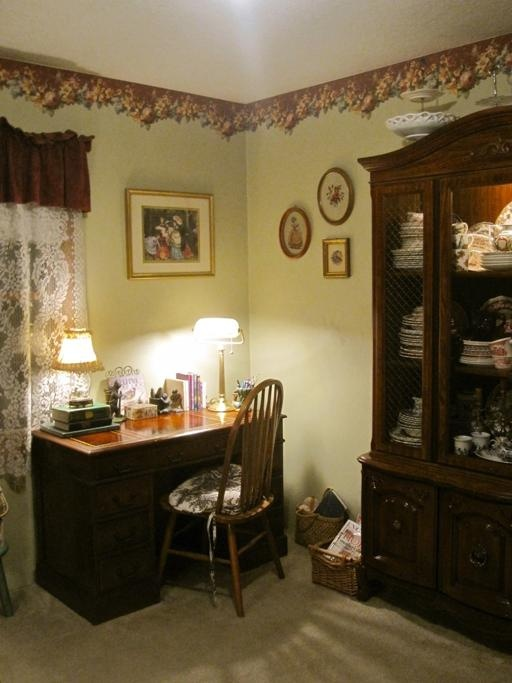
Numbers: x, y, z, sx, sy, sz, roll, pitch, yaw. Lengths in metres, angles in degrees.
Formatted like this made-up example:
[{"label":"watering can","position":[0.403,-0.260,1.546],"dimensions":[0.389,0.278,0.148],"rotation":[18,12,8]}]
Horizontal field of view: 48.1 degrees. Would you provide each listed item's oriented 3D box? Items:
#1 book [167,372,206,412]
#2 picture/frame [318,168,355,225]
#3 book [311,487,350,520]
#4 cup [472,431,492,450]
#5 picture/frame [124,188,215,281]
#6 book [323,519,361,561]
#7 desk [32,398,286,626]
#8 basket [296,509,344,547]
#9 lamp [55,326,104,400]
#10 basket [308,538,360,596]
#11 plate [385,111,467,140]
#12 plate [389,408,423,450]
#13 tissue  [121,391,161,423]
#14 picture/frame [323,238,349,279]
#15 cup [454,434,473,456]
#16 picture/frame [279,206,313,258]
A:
[{"label":"book","position":[-0.376,0.224,3.109],"dimensions":[0.185,0.228,0.243],"rotation":[-6,10,-37]},{"label":"picture/frame","position":[0.424,-0.754,2.969],"dimensions":[0.036,0.327,0.323],"rotation":[-4,6,-31]},{"label":"book","position":[0.401,0.854,3.032],"dimensions":[0.159,0.158,0.053],"rotation":[37,-20,-5]},{"label":"cup","position":[0.833,0.363,2.116],"dimensions":[0.063,0.058,0.062],"rotation":[-1,9,0]},{"label":"picture/frame","position":[-0.493,-0.588,3.125],"dimensions":[0.027,0.434,0.564],"rotation":[5,7,43]},{"label":"book","position":[0.428,0.932,2.718],"dimensions":[0.148,0.040,0.148],"rotation":[10,47,39]},{"label":"desk","position":[-0.582,0.761,2.689],"dimensions":[0.746,0.663,0.682],"rotation":[-2,1,-41]},{"label":"basket","position":[0.313,0.978,3.019],"dimensions":[0.195,0.193,0.290],"rotation":[13,-12,-35]},{"label":"lamp","position":[-0.843,0.036,2.666],"dimensions":[0.200,0.237,0.150],"rotation":[-1,1,24]},{"label":"basket","position":[0.366,1.024,2.593],"dimensions":[0.162,0.107,0.211],"rotation":[-1,-5,37]},{"label":"plate","position":[0.634,-0.844,2.251],"dimensions":[0.191,0.051,0.184],"rotation":[-1,2,43]},{"label":"plate","position":[0.605,0.347,2.303],"dimensions":[0.133,0.053,0.131],"rotation":[2,10,11]},{"label":"tissue ","position":[-0.569,0.331,2.847],"dimensions":[0.113,0.068,0.112],"rotation":[6,6,41]},{"label":"picture/frame","position":[0.423,-0.439,2.997],"dimensions":[0.037,0.266,0.234],"rotation":[-1,1,-37]},{"label":"cup","position":[0.773,0.384,2.145],"dimensions":[0.070,0.069,0.068],"rotation":[1,2,0]},{"label":"picture/frame","position":[0.230,-0.619,3.224],"dimensions":[0.027,0.329,0.315],"rotation":[-9,3,-34]}]
